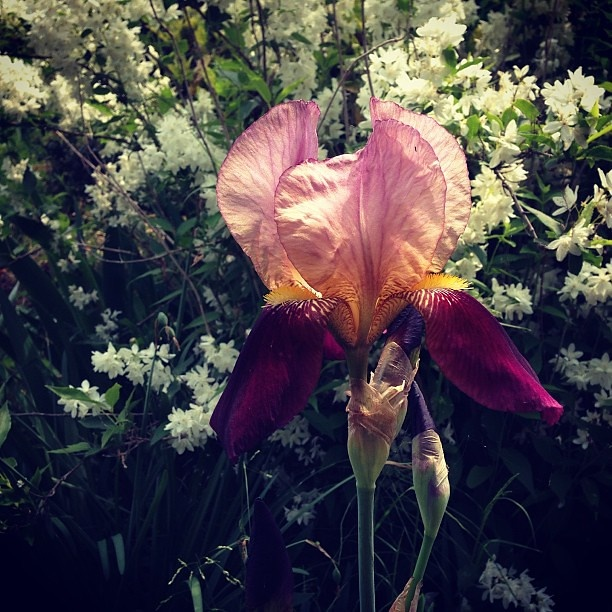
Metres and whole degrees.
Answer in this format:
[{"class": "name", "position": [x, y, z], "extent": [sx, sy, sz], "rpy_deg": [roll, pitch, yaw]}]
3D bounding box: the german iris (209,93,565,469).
[{"class": "german iris", "position": [0.097, -0.066, 1.558], "extent": [0.607, 0.677, 0.365], "rpy_deg": [-6, -5, 1]}]
